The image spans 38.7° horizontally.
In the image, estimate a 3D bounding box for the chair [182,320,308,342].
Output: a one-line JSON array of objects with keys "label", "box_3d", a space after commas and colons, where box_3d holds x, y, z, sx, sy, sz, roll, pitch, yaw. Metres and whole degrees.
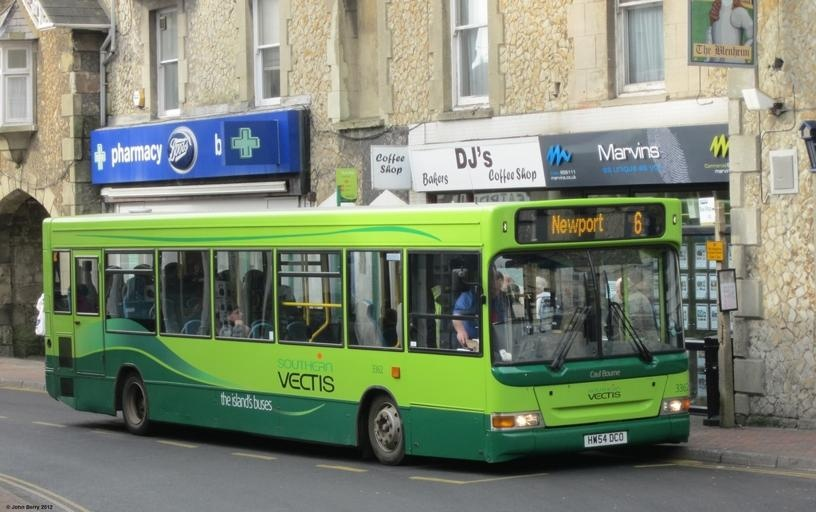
[{"label": "chair", "box_3d": [-2.744, 1.314, 20.191, 1.589, 0.325, 0.299, 4, 4, 37]}]

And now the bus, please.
[{"label": "bus", "box_3d": [-1.560, 1.227, 20.947, 13.099, 4.385, 2.804, 1, 2, 36]}]
